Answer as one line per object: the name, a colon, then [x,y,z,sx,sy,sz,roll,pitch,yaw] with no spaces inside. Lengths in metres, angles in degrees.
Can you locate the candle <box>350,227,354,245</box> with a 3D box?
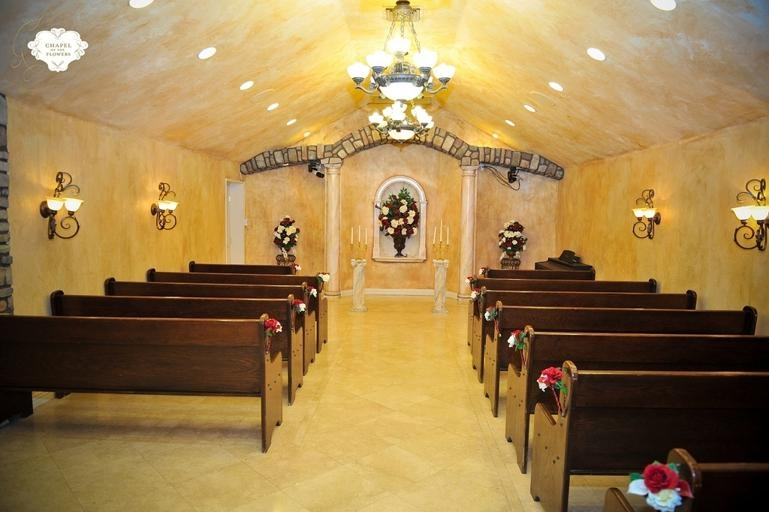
candle: [-0.753,-0.512,13.326,0.041,0.383,0.108,9,16,29]

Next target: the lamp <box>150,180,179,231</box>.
lamp: [-3.616,-0.831,9.127,0.437,0.775,0.394,3,0,17]

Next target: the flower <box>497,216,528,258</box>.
flower: [2.871,-0.423,12.675,0.881,0.885,0.793,0,2,-19]

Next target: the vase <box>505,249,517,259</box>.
vase: [2.910,-0.058,12.592,0.247,0.156,0.155,1,-1,3]

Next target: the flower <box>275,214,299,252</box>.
flower: [-2.226,-0.482,12.713,0.613,0.844,0.611,-1,14,-11]

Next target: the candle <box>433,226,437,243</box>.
candle: [1.239,-0.539,13.331,0.099,0.429,0.093,6,15,18]

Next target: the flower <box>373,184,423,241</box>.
flower: [0.404,-0.972,13.024,1.205,1.237,1.177,1,-30,-1]

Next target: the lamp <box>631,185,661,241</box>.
lamp: [4.041,-0.666,8.692,0.348,0.818,0.734,2,13,4]

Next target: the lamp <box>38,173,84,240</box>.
lamp: [-4.051,-0.638,6.948,0.304,0.859,0.492,0,-5,25]
